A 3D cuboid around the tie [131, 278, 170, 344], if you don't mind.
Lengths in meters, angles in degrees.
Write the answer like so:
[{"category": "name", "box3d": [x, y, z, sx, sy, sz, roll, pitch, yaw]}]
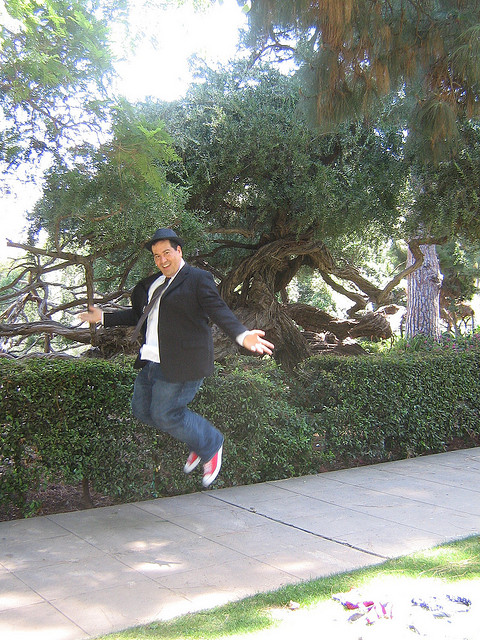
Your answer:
[{"category": "tie", "box3d": [-0.602, -0.067, 3.254, 0.089, 0.656, 0.029, 47, 27, 15]}]
